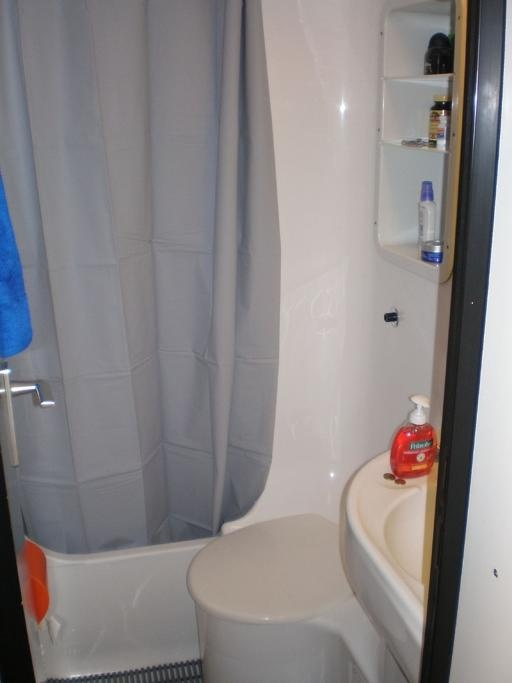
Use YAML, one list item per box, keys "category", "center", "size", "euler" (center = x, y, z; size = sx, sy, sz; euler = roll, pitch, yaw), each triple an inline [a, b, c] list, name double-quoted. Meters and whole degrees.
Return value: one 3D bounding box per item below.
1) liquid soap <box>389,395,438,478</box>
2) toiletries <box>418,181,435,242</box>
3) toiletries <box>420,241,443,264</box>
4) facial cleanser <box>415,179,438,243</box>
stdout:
- category: "liquid soap"
  center: [0.307, 0.180, 0.968]
  size: [0.078, 0.209, 0.053]
  euler: [-8, 30, 1]
- category: "toiletries"
  center: [0.413, -0.309, 1.206]
  size: [0.038, 0.140, 0.159]
  euler: [5, 15, 24]
- category: "toiletries"
  center: [0.392, -0.198, 1.134]
  size: [0.024, 0.045, 0.091]
  euler: [-3, 16, -14]
- category: "facial cleanser"
  center: [0.399, -0.301, 1.174]
  size: [0.033, 0.156, 0.043]
  euler: [6, 38, 28]
